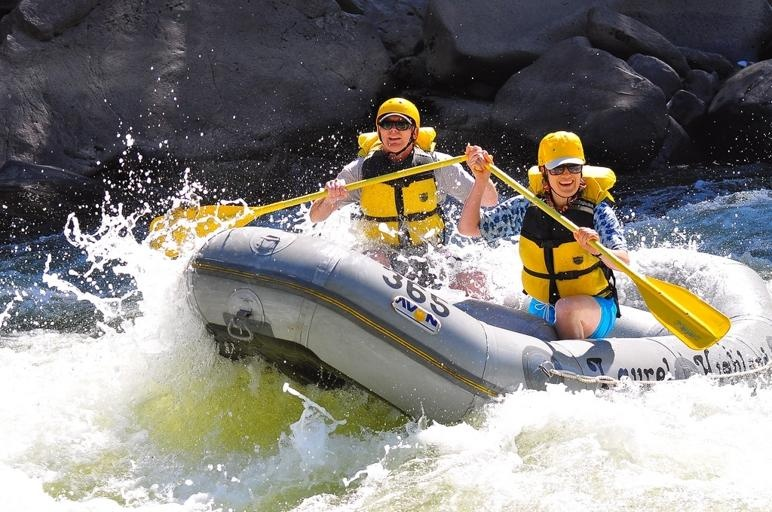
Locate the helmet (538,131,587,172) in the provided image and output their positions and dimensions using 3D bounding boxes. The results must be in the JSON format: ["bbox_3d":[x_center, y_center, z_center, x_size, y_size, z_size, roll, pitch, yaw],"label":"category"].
[{"bbox_3d":[1.338,-0.824,7.008,0.361,0.246,0.503,-3,13,6],"label":"helmet"}]

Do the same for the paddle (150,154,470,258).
[{"bbox_3d":[-0.718,-0.432,8.273,3.476,0.259,0.477,-15,68,5],"label":"paddle"}]

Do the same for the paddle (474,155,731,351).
[{"bbox_3d":[1.634,0.158,6.503,2.537,0.347,0.103,25,19,-39],"label":"paddle"}]

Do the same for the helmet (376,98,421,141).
[{"bbox_3d":[0.115,-1.155,7.742,0.290,0.222,0.372,6,-3,11],"label":"helmet"}]
